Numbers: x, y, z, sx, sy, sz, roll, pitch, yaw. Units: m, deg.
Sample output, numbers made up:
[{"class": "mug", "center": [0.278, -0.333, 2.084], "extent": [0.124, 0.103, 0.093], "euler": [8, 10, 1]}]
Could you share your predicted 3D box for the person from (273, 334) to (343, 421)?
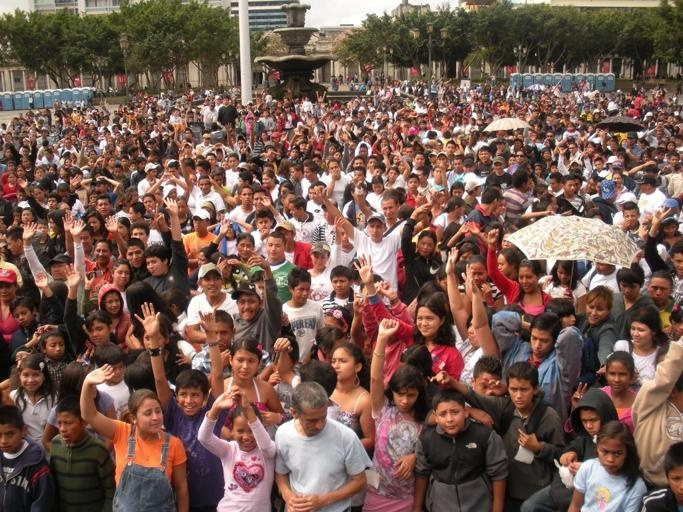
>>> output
[{"class": "person", "center": [-0.381, 1.307, 8.353], "extent": [0.895, 0.523, 1.544], "euler": [-5, -24, -21]}]

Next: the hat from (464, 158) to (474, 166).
[{"class": "hat", "center": [2.428, -1.797, 14.757], "extent": [0.181, 0.124, 0.347], "euler": [-1, 11, 7]}]

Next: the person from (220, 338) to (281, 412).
[{"class": "person", "center": [-0.929, 1.244, 7.943], "extent": [0.496, 0.811, 0.444], "euler": [-3, 21, -7]}]

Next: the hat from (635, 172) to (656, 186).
[{"class": "hat", "center": [5.330, -1.334, 13.520], "extent": [0.399, 0.266, 0.307], "euler": [-1, 7, 21]}]

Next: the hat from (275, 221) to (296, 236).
[{"class": "hat", "center": [-0.783, -0.404, 10.939], "extent": [0.222, 0.163, 0.398], "euler": [0, 11, 13]}]

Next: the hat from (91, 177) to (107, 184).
[{"class": "hat", "center": [-4.598, -1.438, 14.759], "extent": [0.151, 0.072, 0.157], "euler": [1, -14, 0]}]

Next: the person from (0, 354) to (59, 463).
[{"class": "person", "center": [-3.328, 1.800, 8.398], "extent": [0.570, 1.402, 0.386], "euler": [-7, 11, -31]}]

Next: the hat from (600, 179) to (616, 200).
[{"class": "hat", "center": [4.694, -1.167, 13.640], "extent": [0.267, 0.500, 0.221], "euler": [-2, 41, 26]}]

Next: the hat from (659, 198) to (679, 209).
[{"class": "hat", "center": [5.277, -0.849, 12.515], "extent": [0.285, 0.190, 0.440], "euler": [-3, -4, 18]}]

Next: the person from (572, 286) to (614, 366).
[{"class": "person", "center": [2.840, 0.813, 8.710], "extent": [0.274, 0.848, 0.654], "euler": [3, 8, -8]}]
